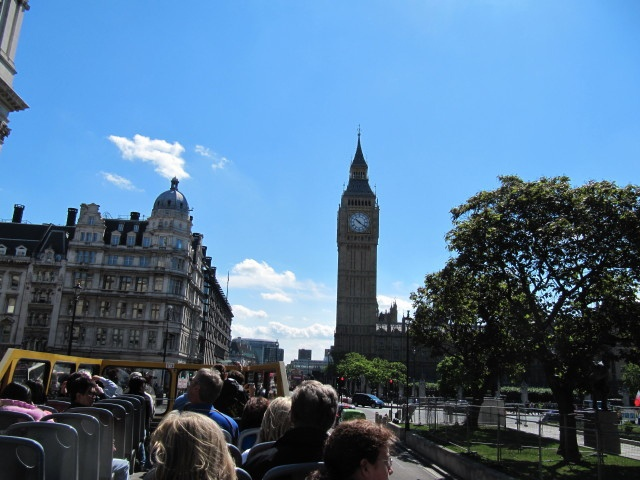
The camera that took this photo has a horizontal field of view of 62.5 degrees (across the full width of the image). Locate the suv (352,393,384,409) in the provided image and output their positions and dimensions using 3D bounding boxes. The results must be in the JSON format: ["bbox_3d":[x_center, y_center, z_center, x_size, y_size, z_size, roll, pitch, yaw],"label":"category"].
[{"bbox_3d":[5.971,20.070,66.454,3.246,1.306,1.869,-6,-11,22],"label":"suv"}]
